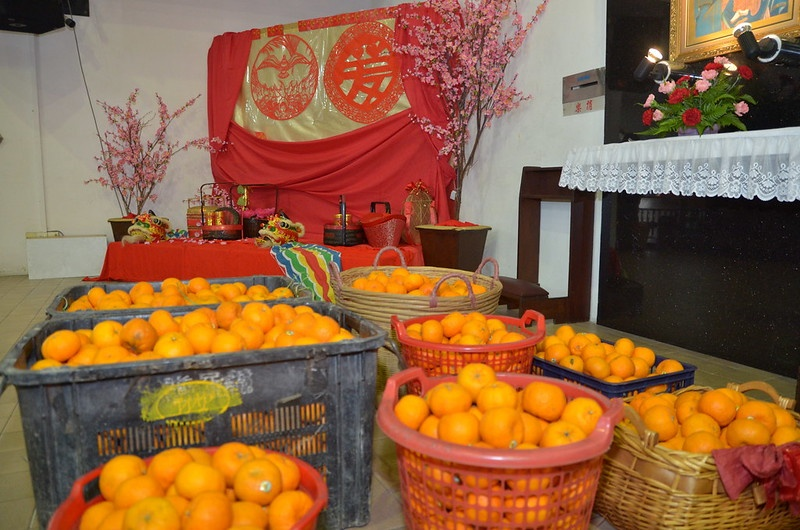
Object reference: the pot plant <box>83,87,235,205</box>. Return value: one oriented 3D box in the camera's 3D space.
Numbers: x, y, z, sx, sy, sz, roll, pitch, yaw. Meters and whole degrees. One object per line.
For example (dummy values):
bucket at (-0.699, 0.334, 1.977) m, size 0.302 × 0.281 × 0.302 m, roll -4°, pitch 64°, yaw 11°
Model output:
pot plant at (-3.187, -1.526, 6.813) m, size 1.490 × 1.361 × 1.573 m, roll 13°, pitch 15°, yaw 28°

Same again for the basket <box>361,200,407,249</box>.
basket at (-0.120, -0.370, 4.448) m, size 0.335 × 0.316 × 0.434 m, roll 0°, pitch 5°, yaw 4°

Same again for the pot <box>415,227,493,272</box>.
pot at (0.442, -0.150, 4.056) m, size 0.393 × 0.326 × 0.412 m, roll 1°, pitch 2°, yaw 0°

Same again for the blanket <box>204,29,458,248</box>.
blanket at (-0.616, -1.318, 5.210) m, size 2.254 × 1.711 × 0.345 m, roll 5°, pitch 11°, yaw 28°

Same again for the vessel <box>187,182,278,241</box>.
vessel at (-1.654, -0.588, 5.378) m, size 1.004 × 0.643 × 0.727 m, roll -2°, pitch 5°, yaw -43°

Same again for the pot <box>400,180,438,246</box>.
pot at (0.166, -0.481, 4.842) m, size 0.457 × 0.811 × 0.471 m, roll 0°, pitch -2°, yaw 0°

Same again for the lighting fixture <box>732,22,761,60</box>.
lighting fixture at (1.867, -1.221, 2.775) m, size 0.112 × 0.219 × 0.179 m, roll 1°, pitch 7°, yaw 31°

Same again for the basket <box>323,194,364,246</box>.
basket at (-0.460, -0.398, 4.520) m, size 0.319 × 0.414 × 0.471 m, roll -1°, pitch 16°, yaw -6°
